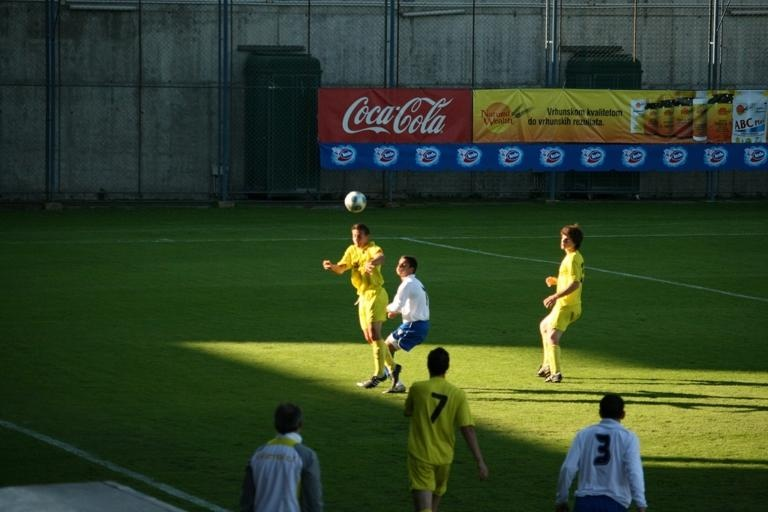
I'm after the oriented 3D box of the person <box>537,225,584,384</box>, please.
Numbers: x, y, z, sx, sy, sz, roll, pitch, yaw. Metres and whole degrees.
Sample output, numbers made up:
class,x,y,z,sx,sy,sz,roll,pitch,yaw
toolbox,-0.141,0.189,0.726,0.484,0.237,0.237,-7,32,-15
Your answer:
class,x,y,z,sx,sy,sz,roll,pitch,yaw
person,4.063,1.122,32.586,0.959,3.614,0.729,0,6,5

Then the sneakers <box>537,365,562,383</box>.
class,x,y,z,sx,sy,sz,roll,pitch,yaw
sneakers,3.813,2.767,32.670,0.683,0.253,0.239,11,8,11
